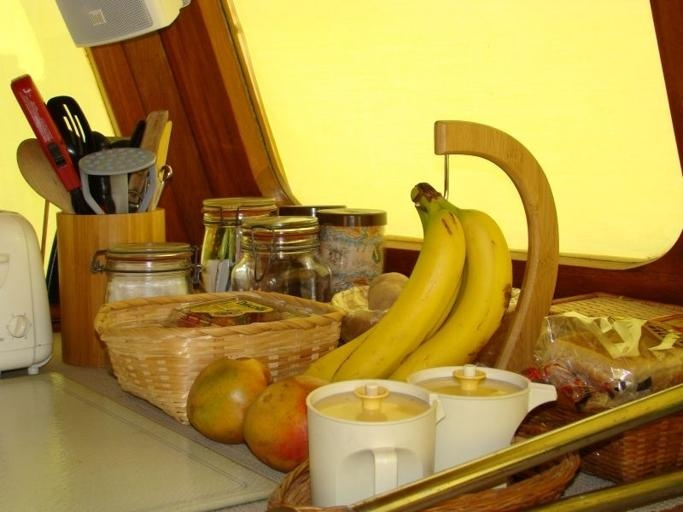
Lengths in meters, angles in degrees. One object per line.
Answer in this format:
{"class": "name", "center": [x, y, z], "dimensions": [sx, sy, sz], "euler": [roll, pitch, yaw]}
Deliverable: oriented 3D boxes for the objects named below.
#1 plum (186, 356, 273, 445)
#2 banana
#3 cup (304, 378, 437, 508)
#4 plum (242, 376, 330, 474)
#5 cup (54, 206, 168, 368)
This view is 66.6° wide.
{"class": "plum", "center": [-0.155, 0.194, 0.744], "dimensions": [0.121, 0.107, 0.111], "euler": [10, -8, -32]}
{"class": "banana", "center": [0.093, 0.043, 0.748], "dimensions": [0.199, 0.305, 0.240], "euler": [4, 14, 20]}
{"class": "cup", "center": [0.021, 0.160, 0.487], "dimensions": [0.105, 0.123, 0.123], "euler": [0, 11, 1]}
{"class": "plum", "center": [-0.071, 0.206, 0.625], "dimensions": [0.095, 0.119, 0.113], "euler": [21, -28, -33]}
{"class": "cup", "center": [-0.519, 0.048, 1.127], "dimensions": [0.258, 0.297, 0.241], "euler": [0, 4, 0]}
